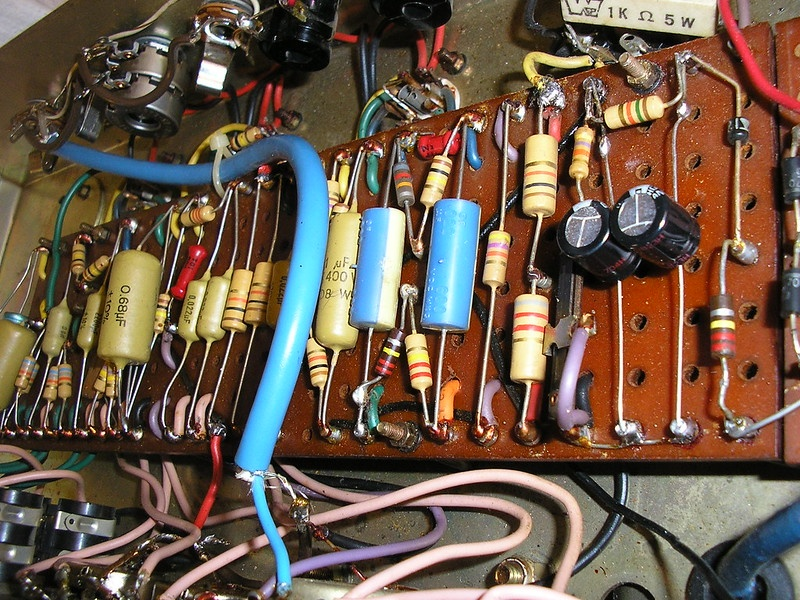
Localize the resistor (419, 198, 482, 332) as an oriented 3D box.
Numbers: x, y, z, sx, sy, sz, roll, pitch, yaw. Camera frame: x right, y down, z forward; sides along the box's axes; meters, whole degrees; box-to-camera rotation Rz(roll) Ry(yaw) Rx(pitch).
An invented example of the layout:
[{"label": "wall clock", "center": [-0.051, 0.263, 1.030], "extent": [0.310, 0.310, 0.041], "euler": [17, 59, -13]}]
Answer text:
[{"label": "resistor", "center": [0.113, -0.066, 1.732], "extent": [0.097, 0.106, 0.298], "euler": [0, 70, 21]}]

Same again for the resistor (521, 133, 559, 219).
[{"label": "resistor", "center": [0.301, -0.257, 1.685], "extent": [0.070, 0.116, 0.154], "euler": [3, 53, 4]}]

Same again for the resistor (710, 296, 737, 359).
[{"label": "resistor", "center": [0.597, 0.047, 1.457], "extent": [0.037, 0.033, 0.138], "euler": [5, 56, 15]}]

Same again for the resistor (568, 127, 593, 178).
[{"label": "resistor", "center": [0.382, -0.310, 1.660], "extent": [0.040, 0.044, 0.165], "euler": [12, 66, -5]}]

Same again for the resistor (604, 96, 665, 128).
[{"label": "resistor", "center": [0.482, -0.380, 1.619], "extent": [0.051, 0.047, 0.114], "euler": [-2, 4, -44]}]
